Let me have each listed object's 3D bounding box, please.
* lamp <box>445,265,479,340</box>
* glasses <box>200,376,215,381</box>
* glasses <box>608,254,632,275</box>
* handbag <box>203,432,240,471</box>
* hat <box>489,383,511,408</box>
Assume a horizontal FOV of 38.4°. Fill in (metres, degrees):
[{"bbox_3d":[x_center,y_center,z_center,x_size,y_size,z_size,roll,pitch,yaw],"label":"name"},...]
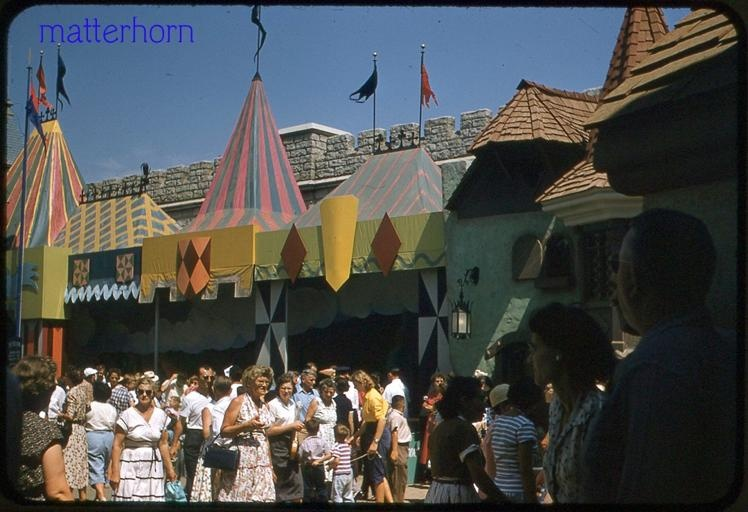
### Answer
[{"bbox_3d":[1.137,0.600,13.700,0.245,0.930,0.451,6,-11,-23],"label":"lamp"},{"bbox_3d":[-1.675,1.226,10.809,0.098,0.035,0.101,13,-30,-42],"label":"glasses"},{"bbox_3d":[1.467,0.053,6.422,0.090,0.086,0.108,2,7,20],"label":"glasses"},{"bbox_3d":[-1.252,1.626,8.921,0.338,0.333,0.126,4,1,11],"label":"handbag"},{"bbox_3d":[1.021,1.116,8.588,0.183,0.129,0.239,-12,11,27],"label":"hat"}]
